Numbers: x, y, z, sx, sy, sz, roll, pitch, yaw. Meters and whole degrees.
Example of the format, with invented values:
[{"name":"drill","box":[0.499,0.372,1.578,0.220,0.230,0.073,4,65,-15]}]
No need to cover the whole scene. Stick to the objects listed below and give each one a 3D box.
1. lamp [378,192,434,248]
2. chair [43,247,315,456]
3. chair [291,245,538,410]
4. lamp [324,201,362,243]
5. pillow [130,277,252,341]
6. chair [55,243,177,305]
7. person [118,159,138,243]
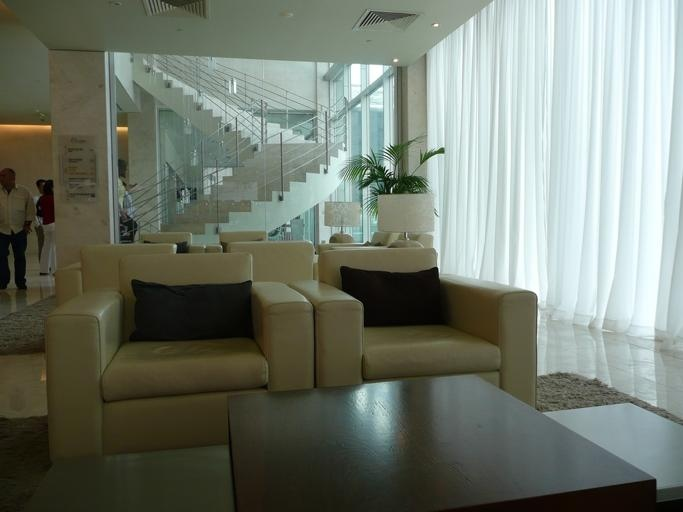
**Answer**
[{"name":"lamp","box":[0.508,-0.301,4.434,0.448,0.533,0.463,-1,18,4]},{"name":"chair","box":[-0.867,0.461,3.039,1.221,0.958,0.907,-1,3,-17]},{"name":"chair","box":[0.352,0.423,3.234,1.228,0.908,0.947,-2,1,-12]},{"name":"lamp","box":[-0.020,-0.471,7.586,0.333,0.455,0.291,-10,21,-17]},{"name":"pillow","box":[-0.830,0.306,3.098,0.665,0.405,0.172,0,9,-17]},{"name":"chair","box":[-1.769,0.089,4.026,0.702,0.538,0.523,0,2,-11]},{"name":"person","box":[-3.205,-0.829,8.111,0.260,1.173,0.691,-6,12,-22]}]
